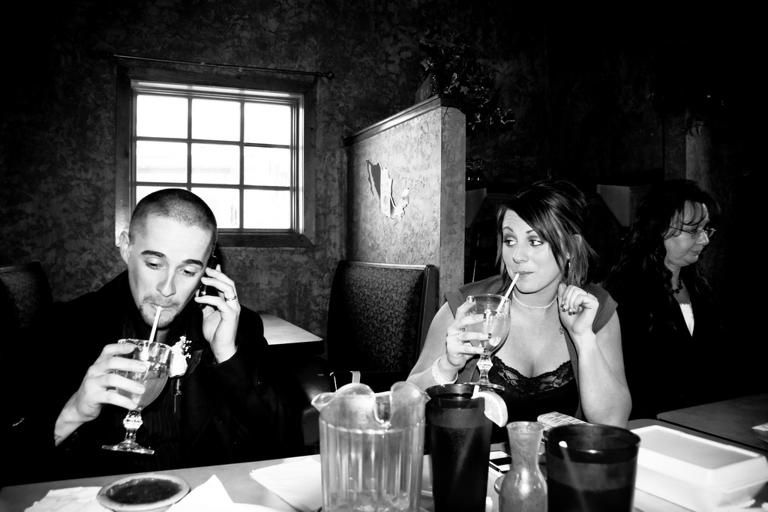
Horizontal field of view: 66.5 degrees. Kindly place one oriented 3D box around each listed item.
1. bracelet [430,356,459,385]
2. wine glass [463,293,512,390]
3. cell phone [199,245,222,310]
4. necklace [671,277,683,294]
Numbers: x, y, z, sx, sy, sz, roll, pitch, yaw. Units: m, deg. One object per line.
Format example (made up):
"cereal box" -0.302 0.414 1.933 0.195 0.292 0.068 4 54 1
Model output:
"bracelet" 0.243 0.475 2.451 0.119 0.124 0.123 2 8 1
"wine glass" 0.412 0.337 2.380 0.113 0.359 0.193 3 4 44
"cell phone" -0.748 0.096 2.516 0.070 0.281 0.086 8 -10 -1
"necklace" 1.911 0.196 3.828 0.070 0.097 0.026 -4 6 -27
